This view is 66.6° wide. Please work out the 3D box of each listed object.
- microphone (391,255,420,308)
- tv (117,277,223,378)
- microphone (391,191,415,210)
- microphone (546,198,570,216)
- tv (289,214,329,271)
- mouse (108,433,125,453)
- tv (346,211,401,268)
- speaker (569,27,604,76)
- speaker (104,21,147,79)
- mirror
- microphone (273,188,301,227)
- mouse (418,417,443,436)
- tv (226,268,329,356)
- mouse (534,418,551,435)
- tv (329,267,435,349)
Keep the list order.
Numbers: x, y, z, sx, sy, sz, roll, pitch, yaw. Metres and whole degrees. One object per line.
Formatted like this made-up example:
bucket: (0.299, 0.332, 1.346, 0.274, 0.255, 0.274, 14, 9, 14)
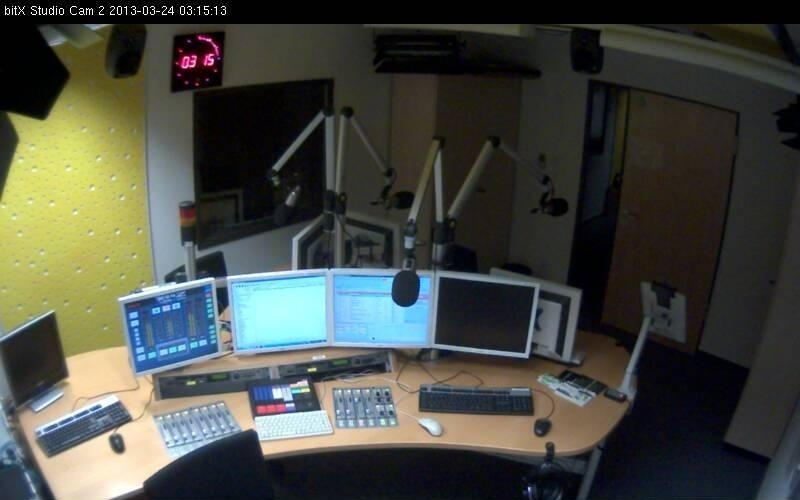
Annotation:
microphone: (0.046, 0.205, 3.760, 0.165, 0.294, 0.243, 4, -15, 1)
tv: (-1.447, 0.513, 3.874, 0.626, 0.571, 0.079, -10, 14, -24)
microphone: (0.013, -0.348, 4.258, 0.139, 0.114, 0.303, 1, 9, -1)
microphone: (1.098, -0.299, 4.224, 0.127, 0.113, 0.201, 9, 12, 34)
tv: (-0.709, -0.046, 4.695, 0.057, 0.387, 0.532, 16, 42, 24)
mouse: (-1.666, 1.139, 3.593, 0.070, 0.090, 0.111, -9, 14, -42)
tv: (-0.216, -0.078, 4.728, 0.426, 0.409, 0.289, 0, 11, -4)
speaker: (1.164, -1.246, 3.816, 0.202, 0.258, 0.285, 4, 11, 13)
speaker: (-0.805, -0.563, 1.770, 0.121, 0.155, 0.040, 7, -5, -9)
mirror: (-1.307, -0.794, 5.558, 1.666, 1.478, 0.137, -15, 23, -41)
microphone: (-0.769, -0.302, 4.199, 0.166, 0.286, 0.451, -1, 10, -10)
mouse: (0.189, 1.106, 3.796, 0.155, 0.077, 0.096, 2, 10, 4)
tv: (-0.793, 0.414, 4.002, 0.635, 0.494, 0.063, -2, 19, -8)
mouse: (0.891, 1.113, 3.828, 0.092, 0.082, 0.124, 7, 11, 29)
tv: (-0.142, 0.364, 4.033, 0.591, 0.432, 0.059, 1, 14, -2)
